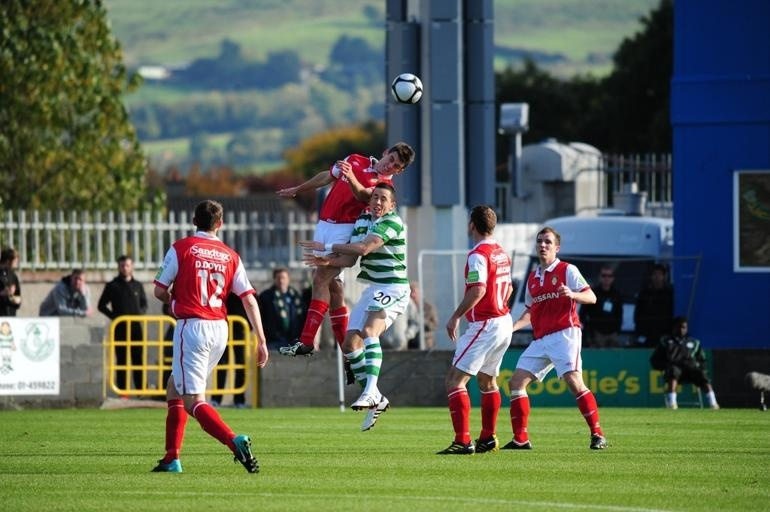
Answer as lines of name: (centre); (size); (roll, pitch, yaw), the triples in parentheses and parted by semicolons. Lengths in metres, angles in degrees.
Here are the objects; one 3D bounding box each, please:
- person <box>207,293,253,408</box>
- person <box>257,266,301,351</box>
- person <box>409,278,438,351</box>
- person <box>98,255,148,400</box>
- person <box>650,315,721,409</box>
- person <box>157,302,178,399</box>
person: (-2.946, 1.786, 38.057); (0.755, 2.078, 0.583); (-1, 0, 15)
person: (-2.022, 1.037, 38.778); (0.660, 1.895, 0.619); (0, 0, 18)
person: (0.799, 1.065, 39.339); (0.429, 1.480, 0.392); (2, 0, 10)
person: (-4.999, 1.213, 37.953); (0.892, 2.536, 0.678); (-1, -2, -8)
person: (5.672, 1.982, 37.587); (1.190, 1.743, 0.514); (-2, -2, 8)
person: (-4.208, 1.714, 38.031); (0.503, 2.729, 0.492); (0, -1, -4)
